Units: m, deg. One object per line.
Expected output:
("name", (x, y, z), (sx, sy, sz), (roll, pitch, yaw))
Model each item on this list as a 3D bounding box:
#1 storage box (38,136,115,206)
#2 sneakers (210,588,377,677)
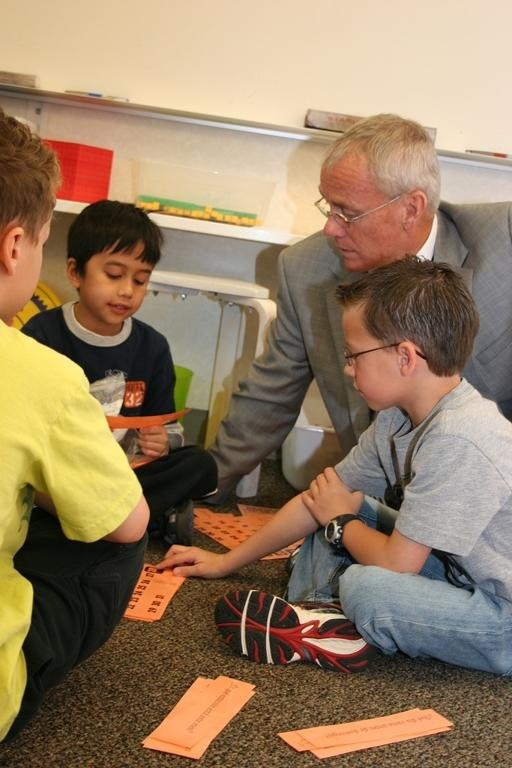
("storage box", (-0.586, -0.689, 1.916), (0.241, 0.165, 0.188), (19, 24, 12))
("sneakers", (0.047, 0.332, 0.902), (0.253, 0.094, 0.112), (18, -4, 6))
